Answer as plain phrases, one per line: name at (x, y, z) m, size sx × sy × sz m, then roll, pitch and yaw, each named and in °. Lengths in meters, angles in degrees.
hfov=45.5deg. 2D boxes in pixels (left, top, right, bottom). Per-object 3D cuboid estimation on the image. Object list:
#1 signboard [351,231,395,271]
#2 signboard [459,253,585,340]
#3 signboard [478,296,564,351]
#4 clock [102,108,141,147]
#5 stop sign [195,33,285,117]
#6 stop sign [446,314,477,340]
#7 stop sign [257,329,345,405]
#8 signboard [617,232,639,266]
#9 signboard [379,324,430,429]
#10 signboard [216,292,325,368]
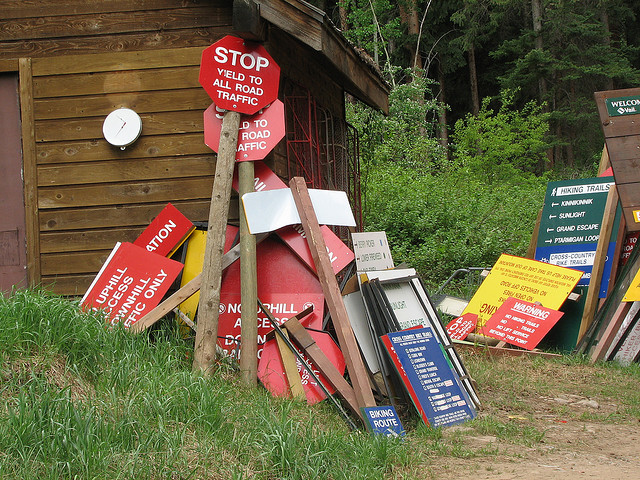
signboard at (0.655, 0.135, 9.828) m, size 0.382 × 0.467 × 0.816 m, roll 6°, pitch 7°, yaw 41°
signboard at (2.767, 0.725, 10.642) m, size 1.343 × 1.439 × 0.322 m, roll 11°, pitch 36°, yaw 11°
signboard at (2.593, 1.118, 9.979) m, size 0.693 × 0.610 × 0.798 m, roll -2°, pitch 7°, yaw -34°
clock at (-2.294, -1.329, 8.833) m, size 0.425 × 0.439 × 0.123 m, roll 3°, pitch 6°, yaw 15°
stop sign at (-0.917, -1.834, 8.425) m, size 0.995 × 0.905 × 0.141 m, roll 3°, pitch -7°, yaw -10°
stop sign at (1.915, 1.159, 10.300) m, size 0.294 × 0.009 × 0.460 m, roll -22°, pitch 25°, yaw 23°
stop sign at (-0.162, 1.231, 7.887) m, size 0.864 × 0.921 × 0.047 m, roll 18°, pitch 28°, yaw -11°
signboard at (4.122, 0.120, 10.235) m, size 0.224 × 0.451 × 0.384 m, roll 4°, pitch 6°, yaw 22°
signboard at (0.834, 1.378, 7.514) m, size 0.090 × 0.813 × 0.674 m, roll -3°, pitch 7°, yaw -41°
signboard at (-0.498, 0.983, 8.070) m, size 0.788 × 0.567 × 0.109 m, roll 1°, pitch -12°, yaw 11°
